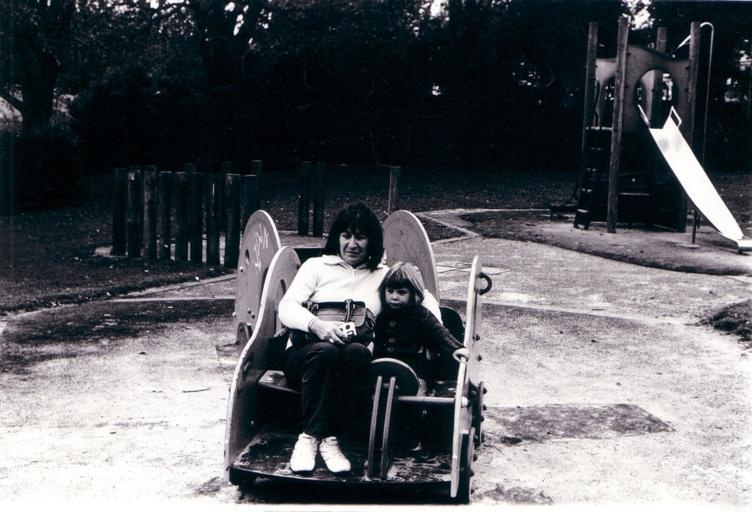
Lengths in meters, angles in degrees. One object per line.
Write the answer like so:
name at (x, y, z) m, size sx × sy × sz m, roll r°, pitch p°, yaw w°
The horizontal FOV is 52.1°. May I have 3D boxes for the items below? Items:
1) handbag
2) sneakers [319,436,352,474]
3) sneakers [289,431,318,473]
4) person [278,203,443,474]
handbag at (-0.274, 0.508, 5.494) m, size 0.452 × 0.189 × 0.362 m, roll -1°, pitch -8°, yaw 16°
sneakers at (-0.274, 1.337, 5.203) m, size 0.186 × 0.195 × 0.278 m, roll -5°, pitch 10°, yaw -19°
sneakers at (-0.482, 1.330, 5.166) m, size 0.193 × 0.213 × 0.183 m, roll -1°, pitch 10°, yaw 2°
person at (-0.314, 0.534, 5.468) m, size 0.761 × 1.688 × 1.073 m, roll -1°, pitch 10°, yaw 7°
